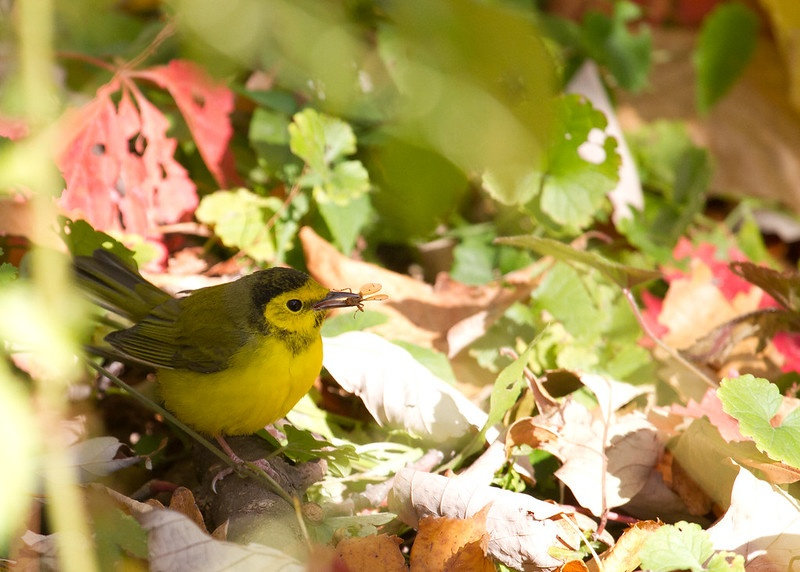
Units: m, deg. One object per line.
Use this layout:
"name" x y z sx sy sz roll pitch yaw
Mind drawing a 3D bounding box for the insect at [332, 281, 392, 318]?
"insect" -0.121 0.047 3.062 0.115 0.063 0.114 -14 34 -41
